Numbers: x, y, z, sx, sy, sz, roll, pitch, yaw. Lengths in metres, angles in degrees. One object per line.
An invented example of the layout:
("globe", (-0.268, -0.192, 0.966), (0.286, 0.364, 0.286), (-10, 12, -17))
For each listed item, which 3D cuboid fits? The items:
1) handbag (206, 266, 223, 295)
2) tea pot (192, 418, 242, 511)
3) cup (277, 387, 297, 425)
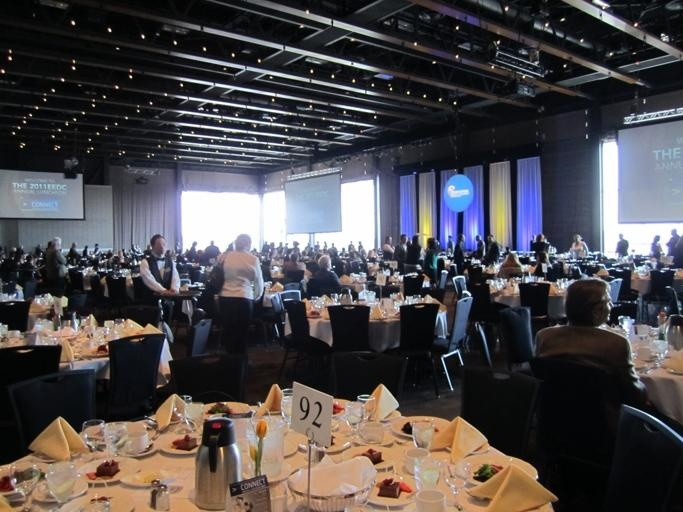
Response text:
("handbag", (-1.514, 0.313, 6.326), (0.178, 0.397, 0.248), (-2, 14, -35))
("tea pot", (-0.543, 0.896, 2.258), (0.221, 0.384, 0.186), (-2, 3, -5))
("cup", (-0.305, 0.796, 2.830), (0.146, 0.198, 0.159), (0, -1, 0))
